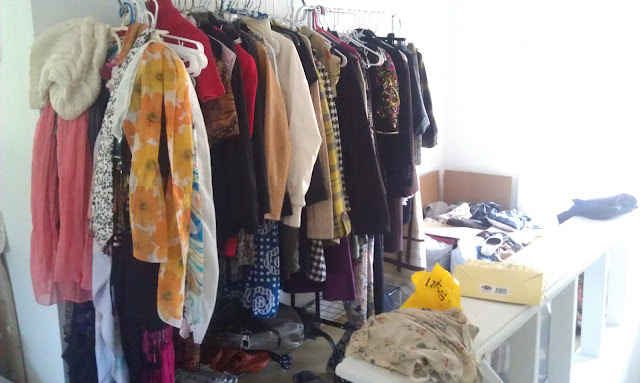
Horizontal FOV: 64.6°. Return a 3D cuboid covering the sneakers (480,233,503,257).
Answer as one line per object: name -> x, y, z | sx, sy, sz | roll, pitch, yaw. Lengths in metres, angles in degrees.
sneakers -> 1.485, 0.458, 4.364 | 0.171, 0.139, 0.271 | 8, 15, 21

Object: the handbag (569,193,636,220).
handbag -> 2.317, 0.126, 4.072 | 0.367, 0.126, 0.280 | -10, 5, -12

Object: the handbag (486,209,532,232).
handbag -> 1.829, 0.272, 4.918 | 0.389, 0.123, 0.362 | 9, 15, 23

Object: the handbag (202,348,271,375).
handbag -> -0.558, 1.113, 3.360 | 0.270, 0.109, 0.261 | 5, -3, -37

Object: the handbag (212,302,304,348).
handbag -> -0.408, 0.975, 3.484 | 0.381, 0.161, 0.381 | 10, 10, -1
